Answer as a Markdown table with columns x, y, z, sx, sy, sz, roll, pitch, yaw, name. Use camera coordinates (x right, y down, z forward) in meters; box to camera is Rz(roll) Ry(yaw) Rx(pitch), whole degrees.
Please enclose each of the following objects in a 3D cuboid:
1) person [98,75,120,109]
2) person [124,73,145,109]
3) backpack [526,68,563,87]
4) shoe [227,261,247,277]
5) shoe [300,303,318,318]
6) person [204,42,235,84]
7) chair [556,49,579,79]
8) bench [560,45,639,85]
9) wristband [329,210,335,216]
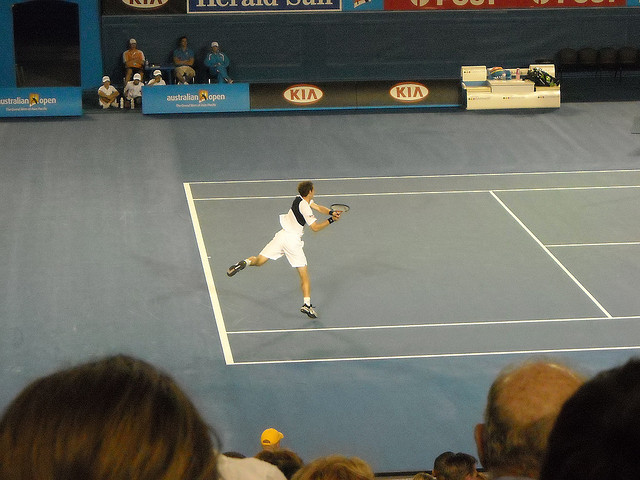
| x | y | z | sx | sy | sz | roll | pitch | yaw | name |
| --- | --- | --- | --- | --- | --- | --- | --- | --- | --- |
| -8.051 | -5.597 | 21.317 | 0.670 | 1.284 | 0.665 | -5 | 6 | -30 | person |
| -7.007 | -5.613 | 21.123 | 0.751 | 1.289 | 0.767 | -1 | 23 | -43 | person |
| 8.329 | -5.818 | 20.456 | 0.902 | 0.362 | 0.722 | 13 | 22 | -37 | backpack |
| -1.584 | 0.569 | 10.840 | 0.359 | 0.309 | 0.513 | -3 | 6 | -11 | shoe |
| -0.171 | 1.326 | 10.470 | 0.157 | 0.338 | 0.339 | 3 | 7 | 43 | shoe |
| -4.288 | -7.440 | 24.024 | 0.978 | 2.078 | 1.545 | -6 | 17 | -36 | person |
| 11.398 | -8.192 | 25.564 | 0.924 | 1.638 | 1.149 | 1 | 8 | 7 | chair |
| 12.751 | -8.248 | 25.482 | 3.534 | 1.133 | 0.700 | -2 | 5 | -3 | bench |
| 0.229 | -0.503 | 10.444 | 0.061 | 0.089 | 0.032 | -6 | -24 | 17 | wristband |
